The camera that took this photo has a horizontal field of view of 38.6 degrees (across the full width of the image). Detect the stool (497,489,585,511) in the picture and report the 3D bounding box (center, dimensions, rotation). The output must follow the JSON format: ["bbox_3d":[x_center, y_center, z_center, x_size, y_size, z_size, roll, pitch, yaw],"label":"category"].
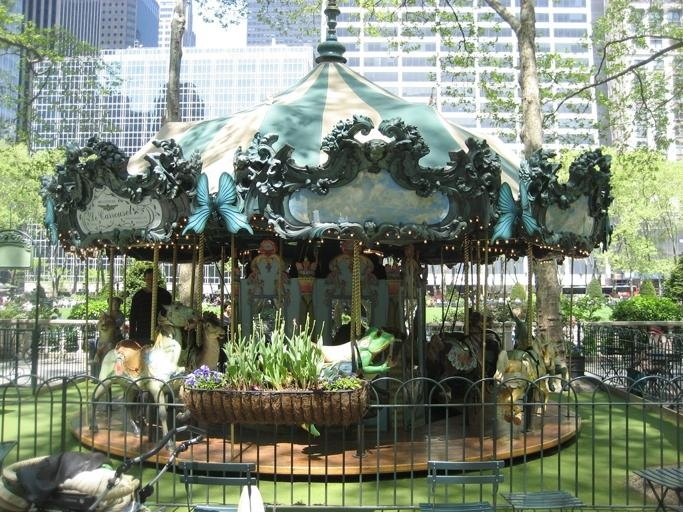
[{"bbox_3d":[3.937,5.808,23.118,1.646,0.350,0.499,0,-2,-1],"label":"stool"}]

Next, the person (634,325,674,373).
[{"bbox_3d":[8.591,3.083,31.351,1.018,1.366,1.112,10,-6,7],"label":"person"}]

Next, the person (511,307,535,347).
[{"bbox_3d":[4.004,2.042,26.788,0.405,1.123,0.294,4,-35,5],"label":"person"}]
